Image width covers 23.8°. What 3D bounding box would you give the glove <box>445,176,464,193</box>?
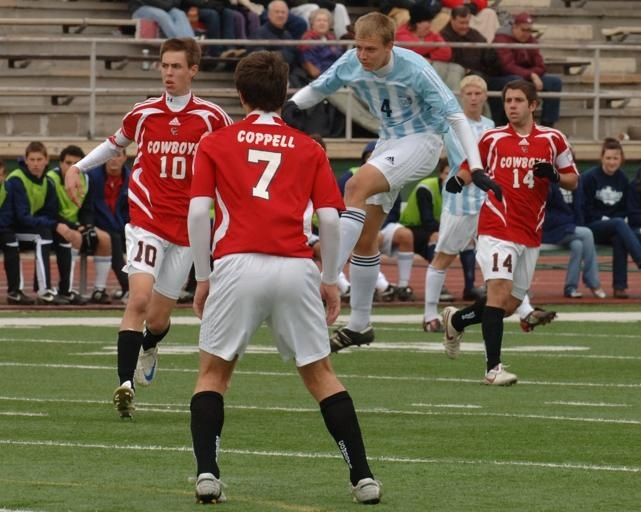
[{"bbox_3d":[1.034,-0.557,11.780,0.137,0.134,0.187,1,1,12],"label":"glove"}]

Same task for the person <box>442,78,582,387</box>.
[{"bbox_3d":[1.616,-0.190,12.115,0.772,2.407,0.603,0,1,-15],"label":"person"}]

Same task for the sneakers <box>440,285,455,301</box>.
[{"bbox_3d":[1.406,0.449,16.874,0.091,0.172,0.253,-3,-12,-11],"label":"sneakers"}]

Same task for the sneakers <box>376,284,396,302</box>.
[{"bbox_3d":[0.742,0.426,17.045,0.232,0.211,0.141,1,-7,6],"label":"sneakers"}]

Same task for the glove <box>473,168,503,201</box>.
[{"bbox_3d":[1.266,-0.544,11.658,0.234,0.241,0.348,1,1,5],"label":"glove"}]

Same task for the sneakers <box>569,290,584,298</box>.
[{"bbox_3d":[2.857,0.436,17.163,0.078,0.080,0.196,0,-3,-34],"label":"sneakers"}]

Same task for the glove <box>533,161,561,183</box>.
[{"bbox_3d":[1.783,-0.656,11.994,0.220,0.167,0.209,1,1,0],"label":"glove"}]

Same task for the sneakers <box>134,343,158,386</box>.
[{"bbox_3d":[-1.343,0.847,11.698,0.134,0.358,0.167,2,12,-19],"label":"sneakers"}]

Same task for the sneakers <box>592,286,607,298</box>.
[{"bbox_3d":[3.139,0.419,17.244,0.119,0.112,0.322,-1,-4,2],"label":"sneakers"}]

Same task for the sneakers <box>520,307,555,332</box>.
[{"bbox_3d":[1.920,0.559,13.200,0.133,0.213,0.410,8,-15,-25],"label":"sneakers"}]

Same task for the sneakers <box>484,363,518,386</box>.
[{"bbox_3d":[1.404,0.932,11.881,0.136,0.122,0.266,0,-5,-33],"label":"sneakers"}]

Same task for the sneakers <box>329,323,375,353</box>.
[{"bbox_3d":[0.241,0.686,12.690,0.455,0.189,0.157,-2,7,-1],"label":"sneakers"}]

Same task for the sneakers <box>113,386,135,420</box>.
[{"bbox_3d":[-1.384,1.036,10.707,0.115,0.256,0.140,-1,27,-5],"label":"sneakers"}]

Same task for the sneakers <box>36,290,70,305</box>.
[{"bbox_3d":[-2.923,0.448,16.500,0.317,0.121,0.157,1,8,-8],"label":"sneakers"}]

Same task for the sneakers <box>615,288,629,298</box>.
[{"bbox_3d":[3.389,0.444,17.191,0.068,0.124,0.193,2,-16,-3],"label":"sneakers"}]

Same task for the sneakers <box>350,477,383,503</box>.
[{"bbox_3d":[0.283,1.416,9.204,0.198,0.158,0.126,0,1,-11],"label":"sneakers"}]

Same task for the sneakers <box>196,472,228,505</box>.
[{"bbox_3d":[-0.651,1.389,9.152,0.230,0.192,0.176,0,1,-25],"label":"sneakers"}]

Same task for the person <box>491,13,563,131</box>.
[{"bbox_3d":[2.934,-2.673,22.018,0.947,1.609,1.097,-1,13,-29],"label":"person"}]

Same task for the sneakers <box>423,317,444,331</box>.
[{"bbox_3d":[1.070,0.673,14.711,0.177,0.112,0.103,-6,1,31],"label":"sneakers"}]

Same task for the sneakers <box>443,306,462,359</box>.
[{"bbox_3d":[1.097,0.645,12.951,0.223,0.414,0.157,3,16,15],"label":"sneakers"}]

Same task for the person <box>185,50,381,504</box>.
[{"bbox_3d":[-0.288,0.106,9.329,1.046,2.745,0.535,0,1,-6],"label":"person"}]
